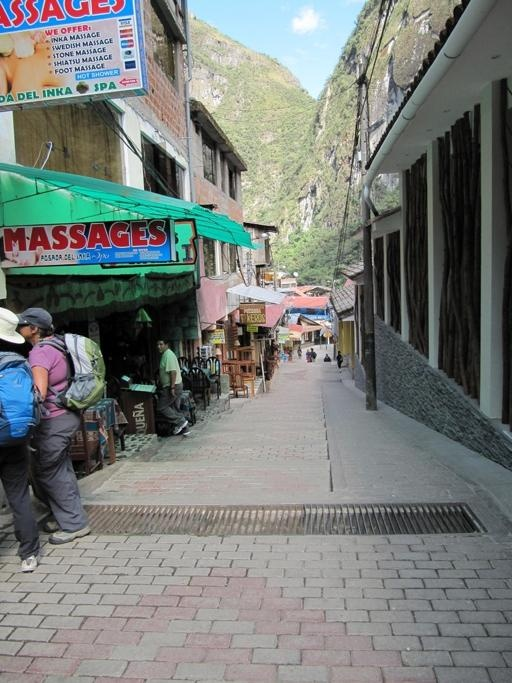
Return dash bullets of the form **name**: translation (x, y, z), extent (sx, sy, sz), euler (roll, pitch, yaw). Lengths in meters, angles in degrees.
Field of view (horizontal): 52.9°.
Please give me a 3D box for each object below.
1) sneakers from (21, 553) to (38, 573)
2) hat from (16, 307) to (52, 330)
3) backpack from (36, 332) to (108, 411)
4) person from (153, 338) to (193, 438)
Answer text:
- **sneakers**: translation (-1.464, 1.433, 3.317), extent (0.052, 0.067, 0.146), euler (1, -13, -7)
- **hat**: translation (-1.697, -0.176, 3.902), extent (0.209, 0.124, 0.152), euler (5, 7, -8)
- **backpack**: translation (-1.472, 0.261, 4.139), extent (0.504, 0.606, 0.480), euler (-1, -3, 14)
- **person**: translation (-1.382, 0.788, 8.495), extent (0.503, 1.586, 0.651), euler (-2, -2, -12)
